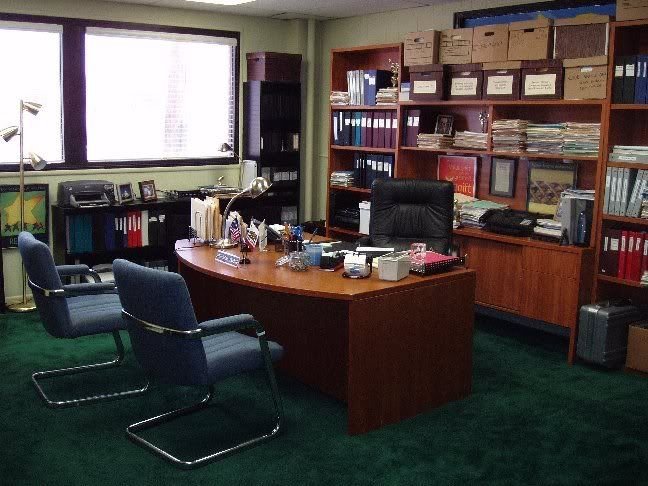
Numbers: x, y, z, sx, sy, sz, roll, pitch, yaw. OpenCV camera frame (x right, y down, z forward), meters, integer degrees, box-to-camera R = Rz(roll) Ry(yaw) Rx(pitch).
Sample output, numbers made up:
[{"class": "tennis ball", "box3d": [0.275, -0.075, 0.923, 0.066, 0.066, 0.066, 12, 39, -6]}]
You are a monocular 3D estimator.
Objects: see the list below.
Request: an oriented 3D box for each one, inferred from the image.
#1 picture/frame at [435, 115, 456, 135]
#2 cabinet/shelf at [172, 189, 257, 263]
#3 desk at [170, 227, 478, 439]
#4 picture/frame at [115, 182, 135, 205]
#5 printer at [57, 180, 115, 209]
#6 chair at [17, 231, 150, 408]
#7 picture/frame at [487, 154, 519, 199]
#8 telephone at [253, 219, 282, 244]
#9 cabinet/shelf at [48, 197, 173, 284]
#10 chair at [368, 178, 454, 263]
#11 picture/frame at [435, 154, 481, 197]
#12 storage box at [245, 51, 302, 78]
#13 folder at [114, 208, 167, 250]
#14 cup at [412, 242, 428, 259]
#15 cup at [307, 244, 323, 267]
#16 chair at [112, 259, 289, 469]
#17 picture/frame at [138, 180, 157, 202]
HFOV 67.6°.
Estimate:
[{"class": "picture/frame", "box3d": [1.286, -1.236, 5.098, 0.240, 0.293, 0.021, 2, -8, 36]}, {"class": "cabinet/shelf", "box3d": [-0.911, -0.155, 3.916, 0.698, 0.469, 0.448, -7, 14, -37]}, {"class": "desk", "box3d": [0.187, 0.561, 3.186, 1.192, 0.756, 1.771, -10, 15, -38]}, {"class": "picture/frame", "box3d": [-2.242, -0.547, 5.432, 0.250, 0.296, 0.147, -9, 8, -42]}, {"class": "printer", "box3d": [-2.536, -0.524, 5.157, 0.532, 0.265, 0.337, -6, 12, -31]}, {"class": "chair", "box3d": [-1.655, 0.507, 3.439, 0.904, 1.027, 0.851, 3, 3, -26]}, {"class": "picture/frame", "box3d": [1.782, -0.656, 4.794, 0.050, 0.502, 0.368, -7, 14, -41]}, {"class": "telephone", "box3d": [-0.456, -0.087, 3.746, 0.214, 0.089, 0.167, 14, 7, -19]}, {"class": "cabinet/shelf", "box3d": [-2.168, -0.064, 4.785, 0.876, 0.735, 0.283, -4, 6, -36]}, {"class": "chair", "box3d": [0.791, -0.234, 4.361, 0.649, 0.723, 0.712, 2, 7, 16]}, {"class": "picture/frame", "box3d": [1.396, -0.686, 4.954, 0.069, 0.500, 0.494, -2, 8, -37]}, {"class": "storage box", "box3d": [-0.648, -2.233, 6.206, 0.700, 0.376, 0.355, -1, 10, -9]}, {"class": "folder", "box3d": [-2.045, -0.140, 5.507, 0.666, 0.650, 0.357, 0, 0, -37]}, {"class": "cup", "box3d": [0.617, 0.049, 3.184, 0.091, 0.096, 0.093, 0, 4, 0]}, {"class": "cup", "box3d": [-0.067, 0.081, 3.249, 0.116, 0.136, 0.126, 0, 3, 0]}, {"class": "chair", "box3d": [-0.745, 0.480, 3.080, 1.095, 1.307, 0.923, -6, 10, -41]}, {"class": "picture/frame", "box3d": [-2.024, -0.585, 5.537, 0.100, 0.272, 0.269, -1, 4, 31]}]
